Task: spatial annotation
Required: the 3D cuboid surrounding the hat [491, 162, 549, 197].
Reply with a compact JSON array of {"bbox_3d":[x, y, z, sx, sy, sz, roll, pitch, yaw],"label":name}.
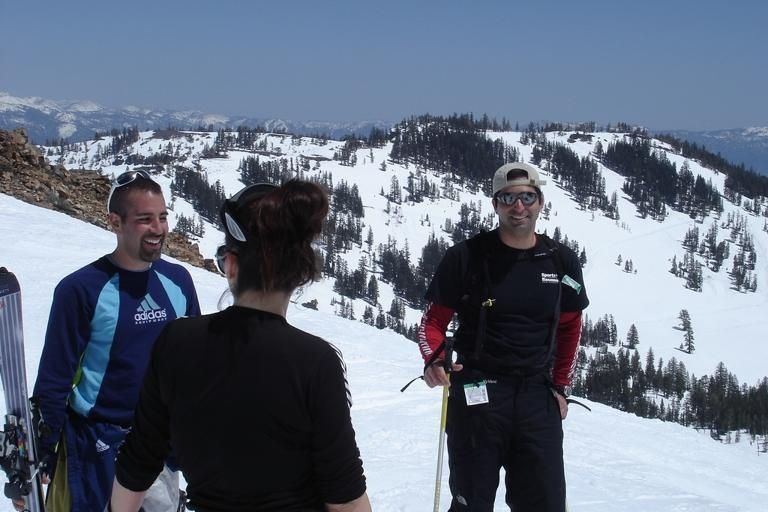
[{"bbox_3d":[2.053,-1.220,12.764,0.518,0.700,0.700,1,-5,1],"label":"hat"}]
